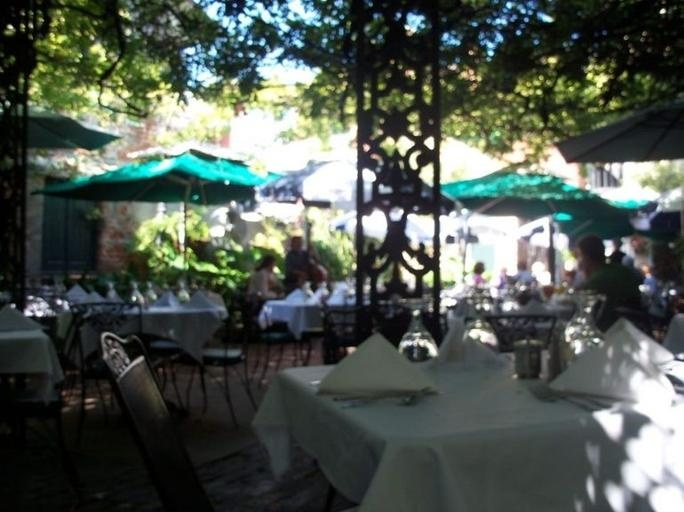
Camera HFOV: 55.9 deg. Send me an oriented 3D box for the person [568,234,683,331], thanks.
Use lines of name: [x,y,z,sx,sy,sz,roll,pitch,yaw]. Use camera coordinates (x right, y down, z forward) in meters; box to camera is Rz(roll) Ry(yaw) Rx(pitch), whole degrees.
person: [2.447,0.199,5.509,0.502,1.362,0.436,-13,-5,-5]

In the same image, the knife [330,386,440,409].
knife: [0.169,0.527,2.594,0.422,0.140,0.133,-1,-1,0]

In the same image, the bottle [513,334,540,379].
bottle: [0.800,0.443,2.773,0.114,0.172,0.090,-3,-16,20]

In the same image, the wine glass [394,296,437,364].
wine glass: [0.343,0.366,2.983,0.202,0.315,0.205,-6,-4,7]

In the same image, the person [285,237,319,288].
person: [-0.605,0.079,9.031,0.497,0.734,0.675,0,3,16]
